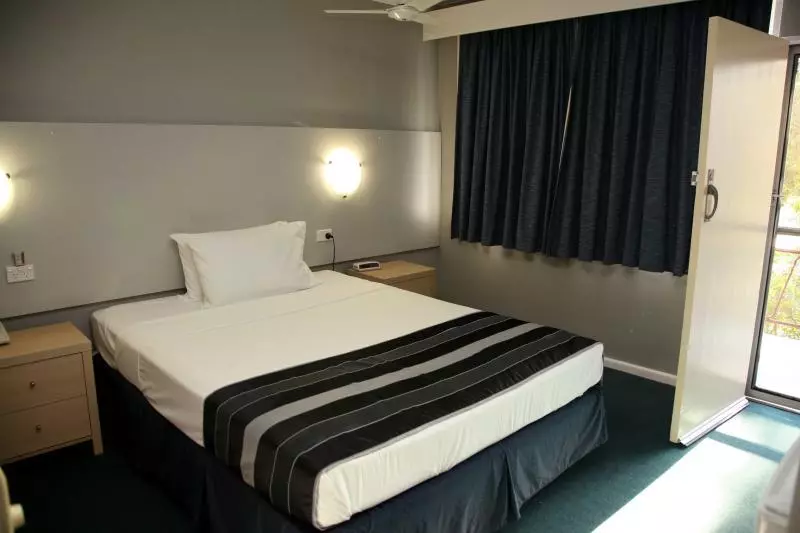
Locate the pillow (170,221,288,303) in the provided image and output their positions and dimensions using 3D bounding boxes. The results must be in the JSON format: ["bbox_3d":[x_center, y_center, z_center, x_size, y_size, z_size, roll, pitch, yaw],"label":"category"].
[{"bbox_3d":[-1.369,-0.007,4.263,0.549,0.401,0.081,-18,-3,-25],"label":"pillow"}]

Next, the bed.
[{"bbox_3d":[-0.114,0.699,3.404,1.896,0.405,1.919,11,13,44],"label":"bed"}]

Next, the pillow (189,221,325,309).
[{"bbox_3d":[-1.182,-0.028,4.286,0.971,0.612,0.255,-13,-1,-35],"label":"pillow"}]

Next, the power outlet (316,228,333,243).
[{"bbox_3d":[-0.703,-0.294,5.052,0.211,0.146,0.108,-9,14,-43],"label":"power outlet"}]
